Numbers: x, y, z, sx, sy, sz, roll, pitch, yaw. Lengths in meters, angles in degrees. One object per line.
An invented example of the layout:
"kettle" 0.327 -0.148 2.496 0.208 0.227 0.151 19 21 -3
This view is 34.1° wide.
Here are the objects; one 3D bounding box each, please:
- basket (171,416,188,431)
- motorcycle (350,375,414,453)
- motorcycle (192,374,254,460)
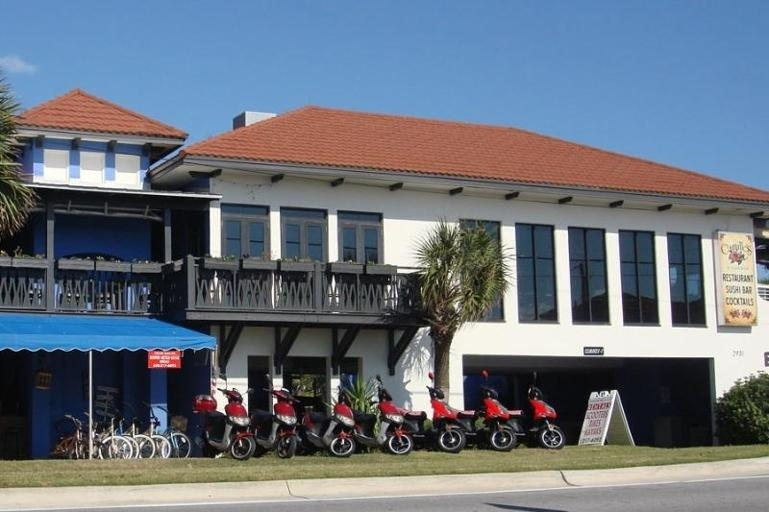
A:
"basket" -6.117 5.042 37.803 0.447 0.453 0.302 3 -4 31
"motorcycle" 0.047 4.681 36.686 1.592 2.208 1.505 -1 -8 12
"motorcycle" -4.451 4.751 35.275 2.609 1.791 0.824 -7 -10 44
